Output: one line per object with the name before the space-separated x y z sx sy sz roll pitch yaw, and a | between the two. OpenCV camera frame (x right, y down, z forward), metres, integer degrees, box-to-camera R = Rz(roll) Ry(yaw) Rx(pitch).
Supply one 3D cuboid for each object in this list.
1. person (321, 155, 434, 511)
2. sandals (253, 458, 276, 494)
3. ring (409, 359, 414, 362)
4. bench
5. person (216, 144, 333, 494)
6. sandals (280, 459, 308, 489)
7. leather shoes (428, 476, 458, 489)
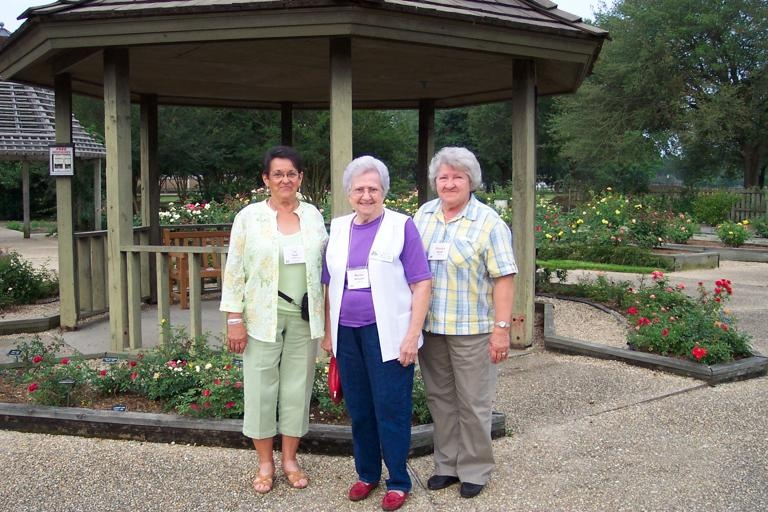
person | -0.071 0.597 4.866 0.779 2.648 0.573 5 14 18
sandals | -0.949 1.798 5.023 0.108 0.122 0.304 0 -2 -6
ring | 0.211 0.797 4.779 0.023 0.025 0.026 0 4 0
bench | -2.912 0.167 10.344 0.604 1.073 1.574 -9 -1 15
person | -0.863 0.509 5.040 0.802 2.679 0.658 -1 14 -6
sandals | -0.713 1.776 5.120 0.129 0.078 0.278 -9 22 -26
leather shoes | 0.480 1.844 5.143 0.218 0.094 0.097 3 -1 -20
